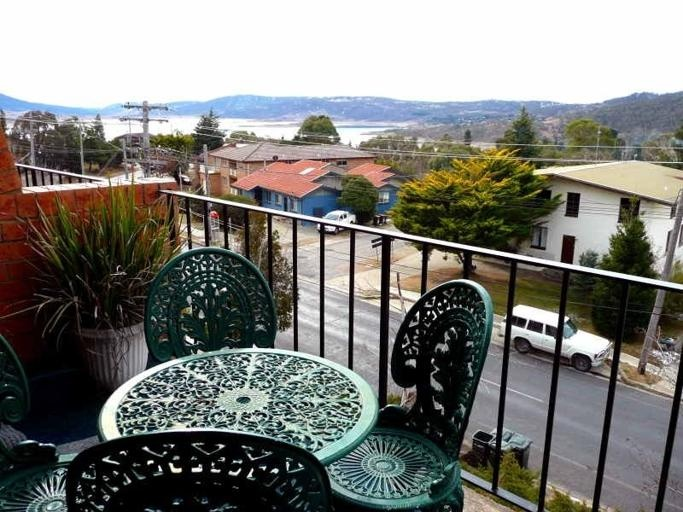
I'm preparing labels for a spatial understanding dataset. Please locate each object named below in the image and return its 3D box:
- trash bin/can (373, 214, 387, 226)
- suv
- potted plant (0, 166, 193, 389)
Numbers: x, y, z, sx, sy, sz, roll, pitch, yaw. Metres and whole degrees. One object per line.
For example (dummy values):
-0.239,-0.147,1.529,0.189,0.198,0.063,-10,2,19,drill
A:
2.701,-2.306,30.086,0.535,0.681,1.321,14,18,38,trash bin/can
7.505,2.956,15.565,2.939,1.390,1.930,7,15,20,suv
-1.090,0.024,2.612,1.095,1.110,1.058,-1,15,-15,potted plant
